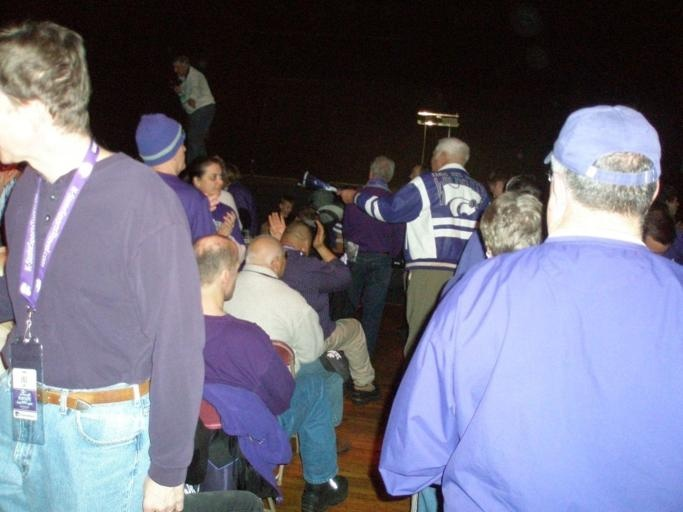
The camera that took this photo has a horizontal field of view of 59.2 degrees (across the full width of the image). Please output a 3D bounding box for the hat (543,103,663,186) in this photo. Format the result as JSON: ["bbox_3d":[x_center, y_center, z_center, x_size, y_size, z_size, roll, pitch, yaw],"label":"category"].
[{"bbox_3d":[0.624,-0.289,1.455,0.163,0.147,0.241,0,18,-6],"label":"hat"}]

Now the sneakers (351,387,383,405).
[{"bbox_3d":[0.166,0.909,3.933,0.196,0.099,0.077,-4,11,-15],"label":"sneakers"}]
